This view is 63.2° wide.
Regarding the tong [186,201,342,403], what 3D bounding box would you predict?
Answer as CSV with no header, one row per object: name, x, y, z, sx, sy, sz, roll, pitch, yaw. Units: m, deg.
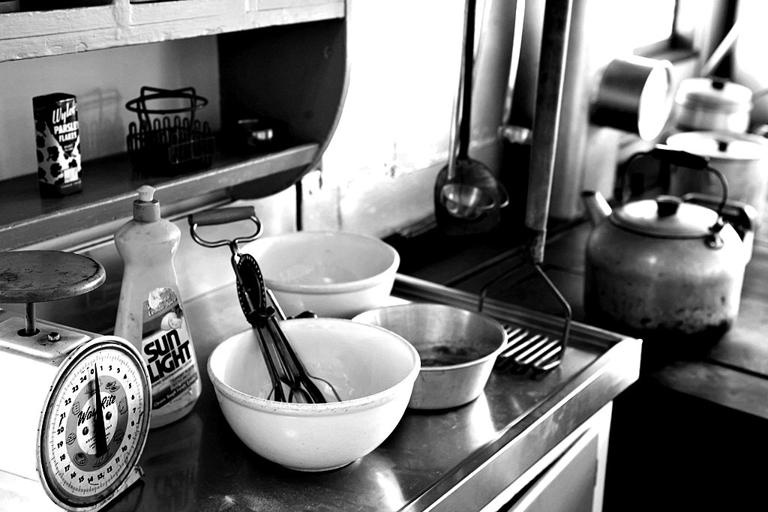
tong,-0.222,0.119,1.248,0.177,0.145,0.531,-12,71,-40

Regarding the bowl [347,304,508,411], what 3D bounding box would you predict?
bowl,0.133,0.188,1.267,0.226,0.084,0.230,0,15,0

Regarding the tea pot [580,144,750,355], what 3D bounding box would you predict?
tea pot,0.830,-0.056,1.898,0.503,0.529,0.406,19,38,39

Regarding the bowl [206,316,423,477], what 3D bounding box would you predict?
bowl,-0.116,0.225,1.063,0.278,0.147,0.282,-1,22,0
